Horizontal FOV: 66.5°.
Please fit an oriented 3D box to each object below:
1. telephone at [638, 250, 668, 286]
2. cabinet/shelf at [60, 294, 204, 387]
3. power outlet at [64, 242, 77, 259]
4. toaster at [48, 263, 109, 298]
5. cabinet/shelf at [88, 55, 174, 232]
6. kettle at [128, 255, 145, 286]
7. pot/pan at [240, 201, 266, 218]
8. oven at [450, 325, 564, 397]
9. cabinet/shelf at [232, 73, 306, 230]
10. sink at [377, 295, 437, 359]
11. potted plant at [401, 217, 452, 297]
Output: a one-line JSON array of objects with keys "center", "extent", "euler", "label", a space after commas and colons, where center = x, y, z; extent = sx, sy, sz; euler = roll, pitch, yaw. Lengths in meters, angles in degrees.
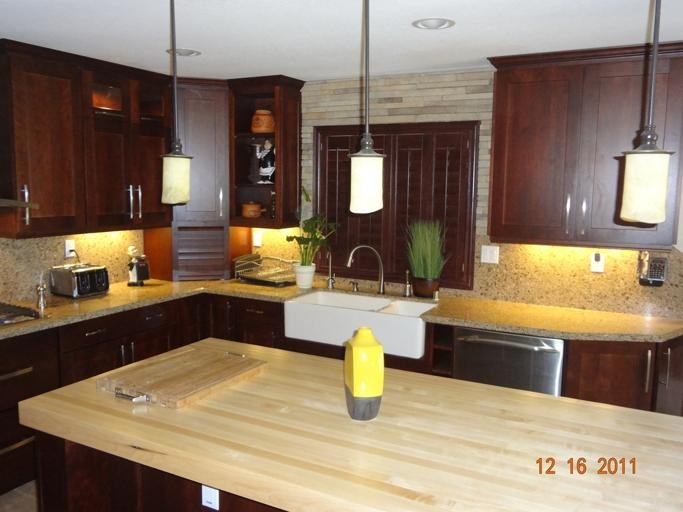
[{"center": [2.258, 0.091, 3.776], "extent": [0.193, 0.249, 0.102], "euler": [9, 12, 26], "label": "telephone"}, {"center": [-1.818, 0.695, 4.154], "extent": [0.363, 0.551, 1.195], "euler": [4, 7, 27], "label": "cabinet/shelf"}, {"center": [-2.286, -0.049, 4.396], "extent": [0.074, 0.135, 0.139], "euler": [4, 5, 13], "label": "power outlet"}, {"center": [-2.159, 0.197, 4.296], "extent": [0.356, 0.205, 0.328], "euler": [4, 10, 29], "label": "toaster"}, {"center": [-1.827, -0.866, 4.423], "extent": [0.379, 1.190, 0.745], "euler": [11, 11, 41], "label": "cabinet/shelf"}, {"center": [-1.833, 0.131, 4.685], "extent": [0.158, 0.253, 0.129], "euler": [-4, 15, -21], "label": "kettle"}, {"center": [-0.816, -0.426, 4.896], "extent": [0.198, 0.121, 0.123], "euler": [-2, 2, -29], "label": "pot/pan"}, {"center": [1.229, 0.683, 3.751], "extent": [0.736, 0.425, 0.479], "euler": [6, 17, 28], "label": "oven"}, {"center": [-0.703, -0.959, 4.857], "extent": [0.612, 1.343, 0.507], "euler": [8, 15, 24], "label": "cabinet/shelf"}, {"center": [0.532, 0.545, 4.017], "extent": [0.411, 0.264, 0.442], "euler": [4, 11, 27], "label": "sink"}, {"center": [0.697, 0.013, 4.347], "extent": [0.365, 0.601, 0.364], "euler": [5, 14, 15], "label": "potted plant"}]
